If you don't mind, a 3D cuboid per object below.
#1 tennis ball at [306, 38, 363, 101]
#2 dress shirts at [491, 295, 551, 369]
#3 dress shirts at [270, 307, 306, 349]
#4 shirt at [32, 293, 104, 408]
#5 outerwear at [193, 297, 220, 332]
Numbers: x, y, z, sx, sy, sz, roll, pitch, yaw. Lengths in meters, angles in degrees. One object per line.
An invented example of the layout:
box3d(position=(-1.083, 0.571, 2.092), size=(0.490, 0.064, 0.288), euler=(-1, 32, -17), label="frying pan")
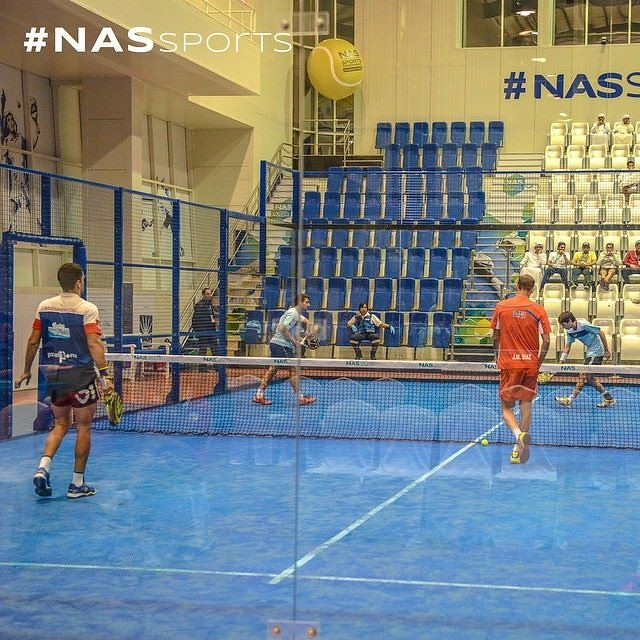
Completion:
box3d(position=(0.071, -0.968, 3.543), size=(0.111, 0.223, 0.318), euler=(3, 5, 40), label="tennis ball")
box3d(position=(1.066, 0.055, 4.878), size=(0.348, 0.375, 0.142), euler=(3, 19, 14), label="dress shirts")
box3d(position=(-0.140, 0.035, 4.061), size=(0.096, 0.156, 0.164), euler=(17, 11, -10), label="dress shirts")
box3d(position=(-1.378, 0.138, 5.028), size=(0.318, 0.550, 0.152), euler=(-1, 4, -14), label="shirt")
box3d(position=(-0.621, -0.036, 4.995), size=(0.203, 0.254, 0.021), euler=(0, 16, -14), label="outerwear")
